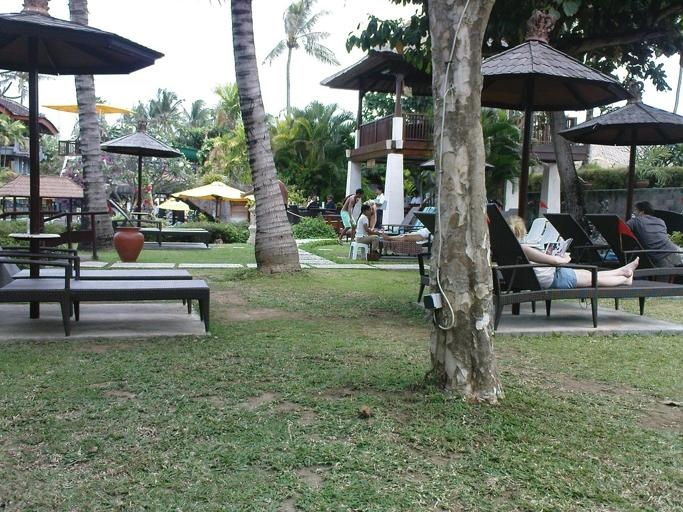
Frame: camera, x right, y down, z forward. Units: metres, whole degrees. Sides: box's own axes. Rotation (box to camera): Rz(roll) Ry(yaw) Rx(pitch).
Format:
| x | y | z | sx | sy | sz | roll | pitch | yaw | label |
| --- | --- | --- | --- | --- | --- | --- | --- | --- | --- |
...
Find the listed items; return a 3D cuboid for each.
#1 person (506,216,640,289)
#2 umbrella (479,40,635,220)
| x | y | z | sx | sy | sz | roll | pitch | yaw | label |
| --- | --- | --- | --- | --- | --- | --- | --- | --- | --- |
| 2.671 | -0.067 | 7.190 | 1.673 | 0.756 | 0.811 | -1 | 4 | -7 | person |
| 2.942 | -1.884 | 8.689 | 2.025 | 2.509 | 2.885 | 5 | 9 | 23 | umbrella |
